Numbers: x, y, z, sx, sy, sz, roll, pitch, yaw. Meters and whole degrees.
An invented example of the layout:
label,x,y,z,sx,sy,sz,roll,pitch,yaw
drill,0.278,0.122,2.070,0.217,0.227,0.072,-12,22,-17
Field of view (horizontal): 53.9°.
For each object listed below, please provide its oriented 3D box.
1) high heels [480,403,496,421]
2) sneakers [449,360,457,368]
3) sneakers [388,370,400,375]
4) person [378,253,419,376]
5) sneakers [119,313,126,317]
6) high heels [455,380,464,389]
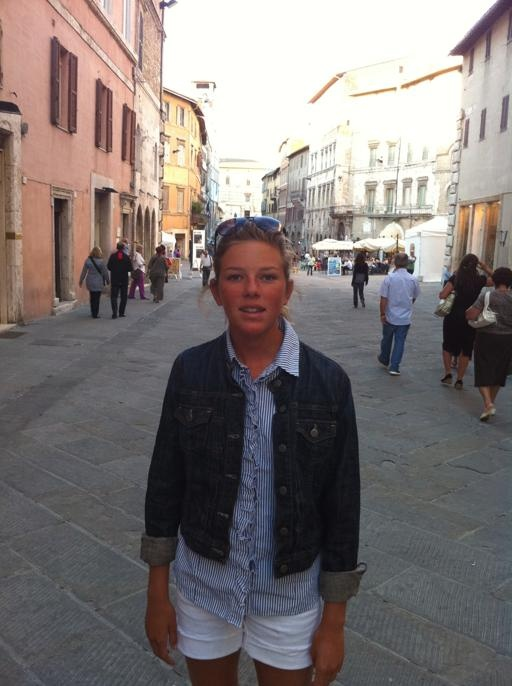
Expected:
label,x,y,z,sx,sy,sz,roll,pitch,yaw
high heels,2.616,0.802,5.698,0.112,0.133,0.304,0,-32,-2
sneakers,3.364,0.346,8.665,0.093,0.134,0.319,0,-1,14
sneakers,2.174,0.461,7.956,0.157,0.091,0.203,3,6,14
person,2.332,-0.492,8.290,0.610,1.918,1.121,3,6,17
sneakers,-3.722,-0.780,13.988,0.119,0.082,0.494,0,6,-17
high heels,2.916,0.594,7.257,0.073,0.105,0.147,-1,-7,6
